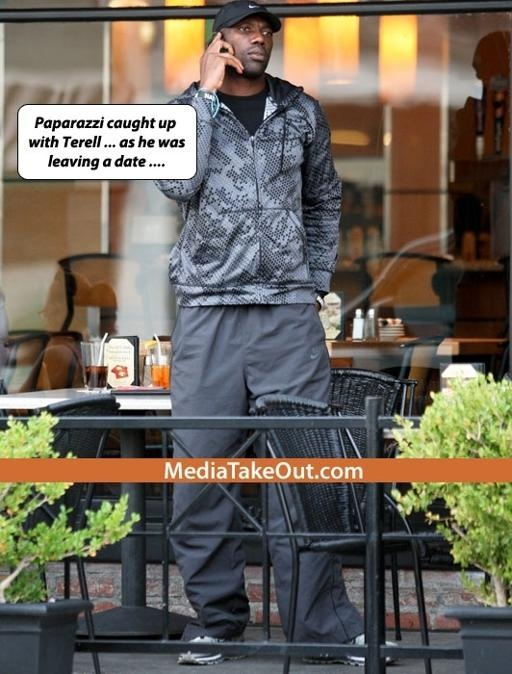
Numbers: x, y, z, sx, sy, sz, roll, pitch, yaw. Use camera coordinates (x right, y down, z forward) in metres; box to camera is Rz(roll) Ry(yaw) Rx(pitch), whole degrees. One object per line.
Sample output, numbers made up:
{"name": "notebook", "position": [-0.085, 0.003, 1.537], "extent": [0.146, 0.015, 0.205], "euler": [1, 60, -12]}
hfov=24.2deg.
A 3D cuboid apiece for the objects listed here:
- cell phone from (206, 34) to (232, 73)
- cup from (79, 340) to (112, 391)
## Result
{"name": "cell phone", "position": [-0.120, -0.844, 3.570], "extent": [0.083, 0.106, 0.036], "euler": [6, -11, 37]}
{"name": "cup", "position": [-0.551, 0.103, 4.238], "extent": [0.146, 0.235, 0.144], "euler": [-2, -1, 0]}
